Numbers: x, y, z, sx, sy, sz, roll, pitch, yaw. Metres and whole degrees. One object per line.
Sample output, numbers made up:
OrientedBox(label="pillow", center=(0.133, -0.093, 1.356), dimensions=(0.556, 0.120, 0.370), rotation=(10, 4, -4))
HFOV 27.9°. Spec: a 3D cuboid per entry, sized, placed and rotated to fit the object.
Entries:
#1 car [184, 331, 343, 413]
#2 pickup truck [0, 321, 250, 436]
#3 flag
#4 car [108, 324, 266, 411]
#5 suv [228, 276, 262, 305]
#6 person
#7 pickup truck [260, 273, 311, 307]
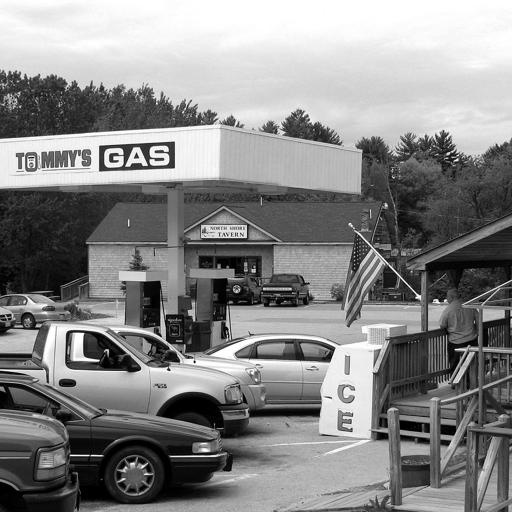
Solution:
OrientedBox(label="car", center=(0.203, 2.036, 18.056), dimensions=(2.499, 0.904, 1.119), rotation=(-2, 1, -5))
OrientedBox(label="pickup truck", center=(-1.821, 1.706, 14.216), dimensions=(3.025, 1.211, 1.452), rotation=(1, 0, -1))
OrientedBox(label="flag", center=(1.991, 0.466, 19.243), dimensions=(0.727, 1.777, 1.103), rotation=(0, 0, 5))
OrientedBox(label="car", center=(-0.988, 1.802, 16.466), dimensions=(2.617, 0.974, 1.220), rotation=(0, 1, -1))
OrientedBox(label="suv", center=(-0.569, 1.825, 52.149), dimensions=(1.010, 0.906, 2.070), rotation=(0, 2, 10))
OrientedBox(label="person", center=(3.477, 1.341, 17.683), dimensions=(0.620, 1.621, 0.623), rotation=(0, 0, 11))
OrientedBox(label="pickup truck", center=(1.378, 1.724, 50.799), dimensions=(2.091, 1.585, 2.807), rotation=(0, 0, 5))
